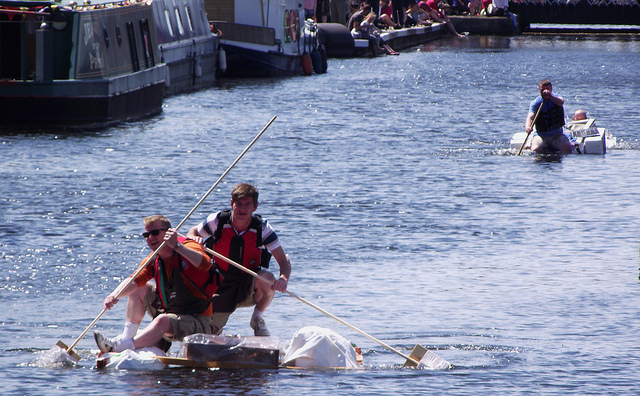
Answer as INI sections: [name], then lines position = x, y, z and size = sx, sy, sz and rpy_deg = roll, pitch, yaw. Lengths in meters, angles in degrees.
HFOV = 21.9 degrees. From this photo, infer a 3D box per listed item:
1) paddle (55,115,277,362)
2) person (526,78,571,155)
[paddle]
position = -3.089, 0.896, 32.790
size = 6.770, 0.994, 0.538
rpy_deg = -45, 8, -8
[person]
position = 5.478, -1.901, 39.892
size = 0.943, 1.985, 1.231
rpy_deg = 1, 1, 2
